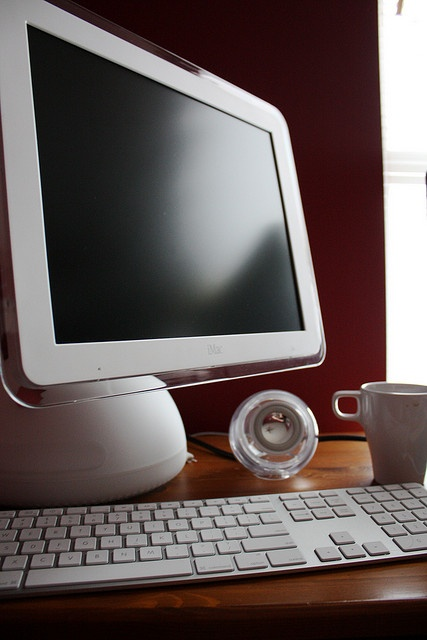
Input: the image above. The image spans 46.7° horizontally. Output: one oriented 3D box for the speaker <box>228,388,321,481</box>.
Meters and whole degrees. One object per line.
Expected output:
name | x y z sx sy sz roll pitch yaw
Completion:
speaker | 0.064 0.126 0.554 0.113 0.114 0.030 14 -42 -7
